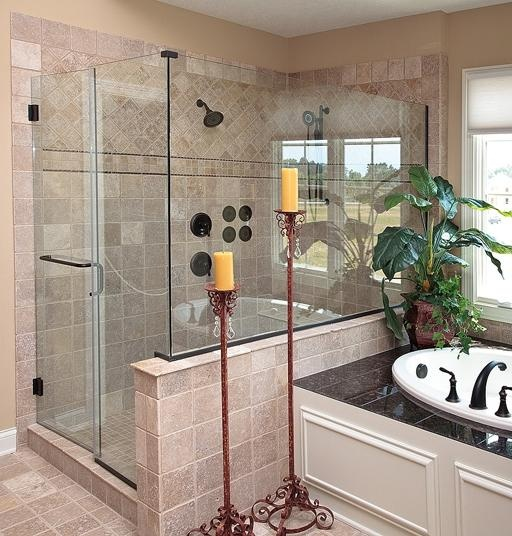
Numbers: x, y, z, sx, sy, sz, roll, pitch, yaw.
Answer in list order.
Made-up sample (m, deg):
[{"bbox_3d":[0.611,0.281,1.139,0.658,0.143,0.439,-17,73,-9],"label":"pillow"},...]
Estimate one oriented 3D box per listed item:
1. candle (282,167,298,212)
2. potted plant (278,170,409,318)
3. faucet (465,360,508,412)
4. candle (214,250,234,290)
[{"bbox_3d":[0.135,-0.302,1.846,0.058,0.168,0.034,-4,9,-9],"label":"candle"},{"bbox_3d":[0.507,-0.136,2.792,0.716,0.789,0.645,0,0,-17],"label":"potted plant"},{"bbox_3d":[0.913,0.453,1.864,0.213,0.168,0.067,-11,12,-39],"label":"faucet"},{"bbox_3d":[-0.103,0.009,1.584,0.065,0.121,0.066,-6,10,-26],"label":"candle"}]
